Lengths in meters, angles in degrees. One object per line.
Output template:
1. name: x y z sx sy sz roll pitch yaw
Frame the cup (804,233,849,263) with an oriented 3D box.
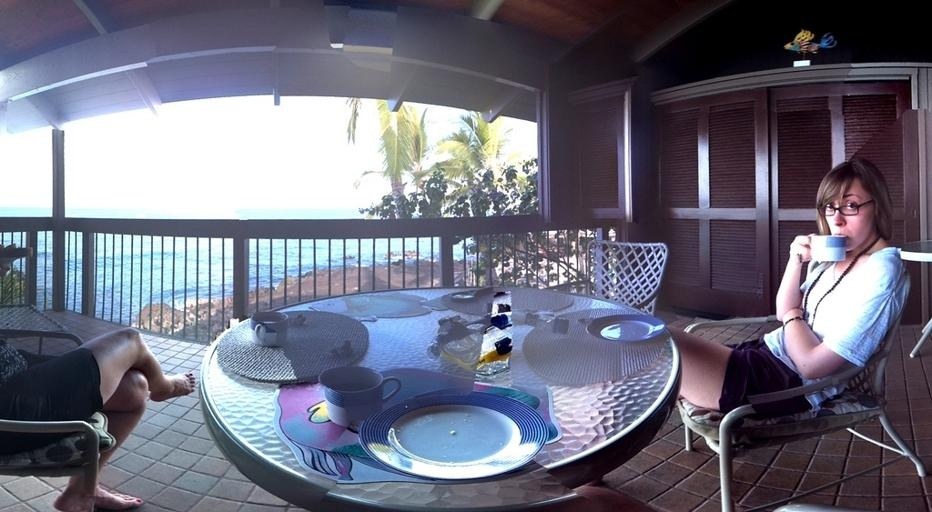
1. cup: 2.501 -0.061 3.762 0.199 0.151 0.247 0 -1 -37

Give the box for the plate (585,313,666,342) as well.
1. plate: 1.061 0.489 3.567 0.295 0.026 0.259 -6 22 -3

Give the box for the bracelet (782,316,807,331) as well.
1. bracelet: 2.295 0.480 3.737 0.099 0.026 0.093 -15 3 14
